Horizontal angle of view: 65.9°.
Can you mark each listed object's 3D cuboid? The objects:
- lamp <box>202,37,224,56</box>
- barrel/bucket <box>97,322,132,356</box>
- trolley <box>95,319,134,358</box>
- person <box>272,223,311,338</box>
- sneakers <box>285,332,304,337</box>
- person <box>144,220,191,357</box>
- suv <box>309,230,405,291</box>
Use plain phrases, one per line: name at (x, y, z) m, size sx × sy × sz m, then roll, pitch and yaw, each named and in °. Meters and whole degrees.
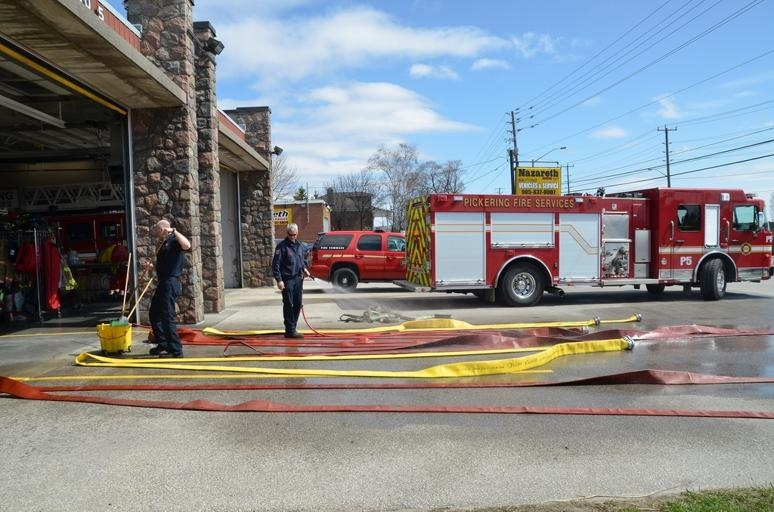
lamp at (-4.534, -5.464, 15.523) m, size 0.460 × 0.412 × 0.333 m, roll -3°, pitch 14°, yaw -12°
barrel/bucket at (-4.849, 1.428, 10.588) m, size 0.607 × 0.487 × 0.605 m, roll 0°, pitch 0°, yaw 0°
trolley at (-4.715, 1.465, 10.555) m, size 0.785 × 0.566 × 0.791 m, roll -14°, pitch -19°, yaw 42°
person at (-1.862, 0.488, 11.656) m, size 0.646 × 2.280 × 0.875 m, roll -2°, pitch 15°, yaw -7°
sneakers at (-1.778, 1.513, 11.555) m, size 0.354 × 0.116 × 0.116 m, roll 0°, pitch -3°, yaw -4°
person at (-3.728, 0.577, 10.166) m, size 0.764 × 2.350 × 0.879 m, roll -4°, pitch 15°, yaw -16°
suv at (-0.975, 0.011, 20.440) m, size 3.602 × 1.223 × 1.582 m, roll -2°, pitch 3°, yaw -3°
